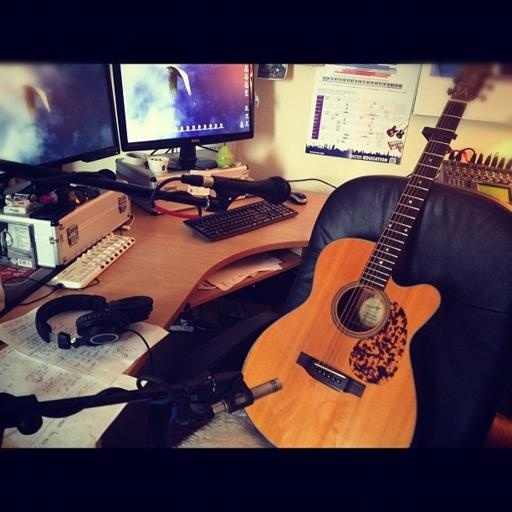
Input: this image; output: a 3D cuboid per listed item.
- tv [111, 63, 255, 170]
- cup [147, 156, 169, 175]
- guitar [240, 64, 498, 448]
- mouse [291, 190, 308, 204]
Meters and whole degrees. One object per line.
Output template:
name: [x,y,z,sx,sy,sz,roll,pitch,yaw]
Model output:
tv: [-0.250,-0.476,1.549,0.434,0.412,0.091,-13,32,-32]
cup: [-0.334,-0.319,1.585,0.064,0.053,0.067,0,21,0]
guitar: [0.295,0.005,1.008,0.356,0.886,0.093,24,-7,35]
mouse: [0.156,-0.210,1.678,0.045,0.026,0.074,-11,28,-25]
